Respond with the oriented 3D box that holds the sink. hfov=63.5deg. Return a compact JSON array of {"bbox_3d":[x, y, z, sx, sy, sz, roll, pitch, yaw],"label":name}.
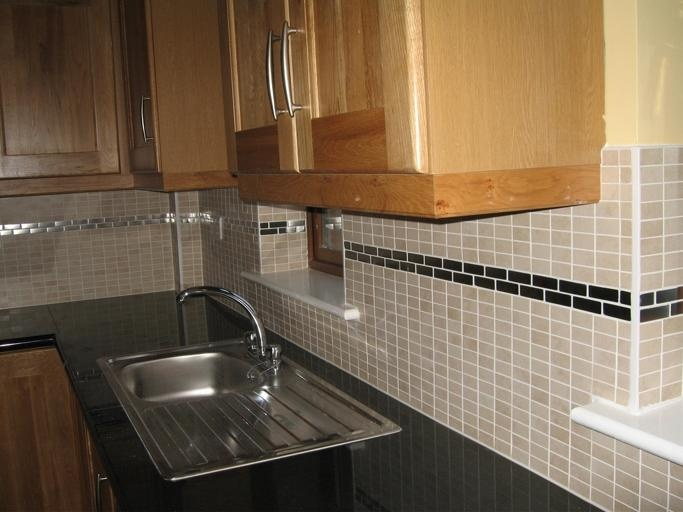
[{"bbox_3d":[-0.532,0.518,2.305,0.630,0.214,0.513,-6,-15,15],"label":"sink"}]
